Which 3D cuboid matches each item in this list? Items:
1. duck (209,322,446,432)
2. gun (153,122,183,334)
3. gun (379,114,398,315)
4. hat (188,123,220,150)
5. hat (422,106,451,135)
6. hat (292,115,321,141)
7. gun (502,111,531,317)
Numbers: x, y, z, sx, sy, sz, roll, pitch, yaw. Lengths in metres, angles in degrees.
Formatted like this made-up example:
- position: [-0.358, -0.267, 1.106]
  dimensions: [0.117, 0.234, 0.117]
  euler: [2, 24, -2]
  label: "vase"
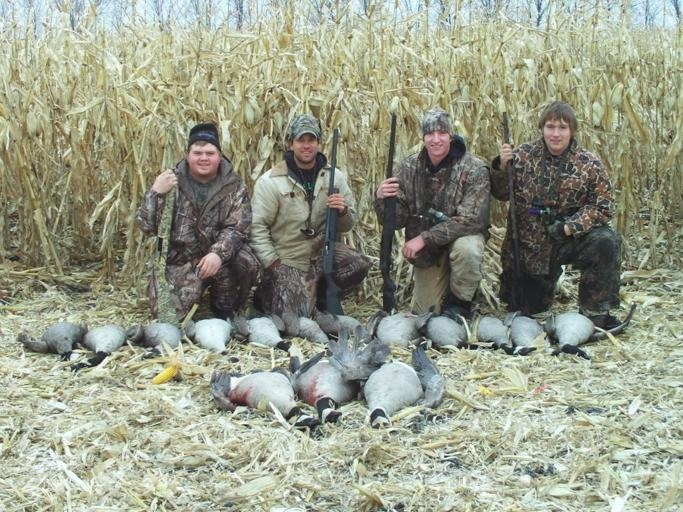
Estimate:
- position: [-0.085, 0.796, 4.369]
  dimensions: [1.577, 0.490, 0.704]
  euler: [-2, 10, -1]
  label: "duck"
- position: [-1.486, -0.162, 5.691]
  dimensions: [0.258, 1.522, 0.294]
  euler: [-2, 14, -20]
  label: "gun"
- position: [0.398, -0.346, 5.858]
  dimensions: [0.218, 1.615, 0.216]
  euler: [-1, 12, -13]
  label: "gun"
- position: [-1.211, -1.060, 5.684]
  dimensions: [0.203, 0.201, 0.268]
  euler: [3, -13, -6]
  label: "hat"
- position: [0.821, -1.156, 5.640]
  dimensions: [0.221, 0.185, 0.232]
  euler: [2, -3, -7]
  label: "hat"
- position: [-0.337, -1.135, 5.776]
  dimensions: [0.265, 0.219, 0.172]
  euler: [-4, 10, -9]
  label: "hat"
- position: [1.577, -0.327, 5.853]
  dimensions: [0.261, 1.758, 0.413]
  euler: [5, 18, 13]
  label: "gun"
